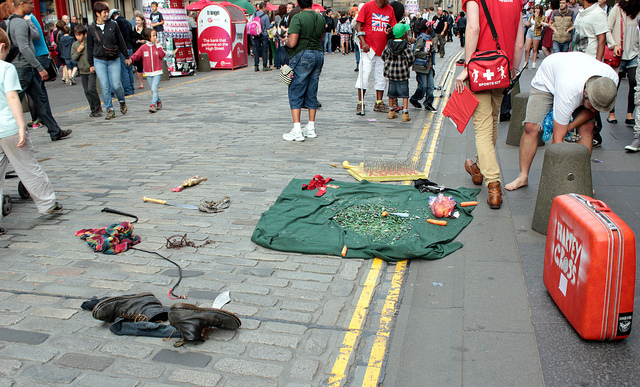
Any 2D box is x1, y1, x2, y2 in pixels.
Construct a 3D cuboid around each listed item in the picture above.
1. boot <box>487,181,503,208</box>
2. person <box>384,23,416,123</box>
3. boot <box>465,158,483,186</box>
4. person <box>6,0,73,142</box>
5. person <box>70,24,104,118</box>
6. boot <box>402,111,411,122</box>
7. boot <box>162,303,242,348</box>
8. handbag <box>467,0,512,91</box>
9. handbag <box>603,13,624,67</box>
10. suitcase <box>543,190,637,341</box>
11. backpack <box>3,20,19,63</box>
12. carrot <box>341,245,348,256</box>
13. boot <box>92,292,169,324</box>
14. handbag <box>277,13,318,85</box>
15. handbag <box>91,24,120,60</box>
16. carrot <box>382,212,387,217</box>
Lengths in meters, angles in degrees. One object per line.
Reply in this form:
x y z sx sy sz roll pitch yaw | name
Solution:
2.481 0.009 6.621 0.182 0.284 0.362 5 25 16 | boot
1.869 -2.848 10.930 0.676 2.118 1.072 -1 25 4 | person
2.391 -0.357 7.339 0.156 0.204 0.443 -1 39 -1 | boot
-5.897 -2.474 9.624 0.721 2.816 1.144 -14 27 -22 | person
-6.351 -3.352 12.795 0.757 2.422 0.717 3 15 25 | person
2.026 -1.794 10.852 0.188 0.220 0.331 2 24 10 | boot
-1.110 1.237 4.521 0.661 0.377 0.285 10 60 -1 | boot
2.380 -2.002 6.477 0.541 1.087 0.506 13 29 31 | handbag
6.094 -3.136 9.604 0.340 1.016 0.459 12 28 29 | handbag
2.556 0.743 4.455 0.436 1.180 1.182 1 15 -4 | suitcase
-6.184 -3.035 9.271 0.274 0.756 0.569 -17 28 -28 | backpack
0.296 0.696 5.651 0.043 0.013 0.118 25 32 4 | carrot
-1.877 1.145 4.643 0.608 0.337 0.259 -5 24 -19 | boot
-0.506 -2.821 9.485 0.872 1.198 0.488 -22 31 -36 | handbag
-5.118 -3.656 11.456 0.318 0.716 0.735 -18 0 20 | handbag
0.878 0.280 6.281 0.062 0.046 0.035 -5 24 -6 | carrot
